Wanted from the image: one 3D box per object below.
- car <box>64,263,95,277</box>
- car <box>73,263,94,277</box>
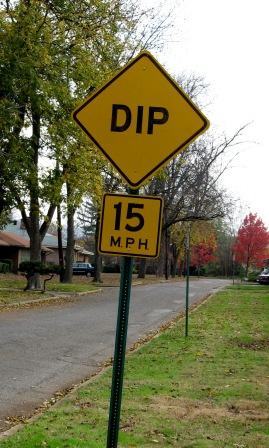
[{"bbox_3d":[-6.009,5.399,49.780,4.408,1.587,1.910,4,-6,8],"label":"car"},{"bbox_3d":[-5.948,5.404,49.788,3.035,1.077,1.295,4,-3,7],"label":"car"}]
